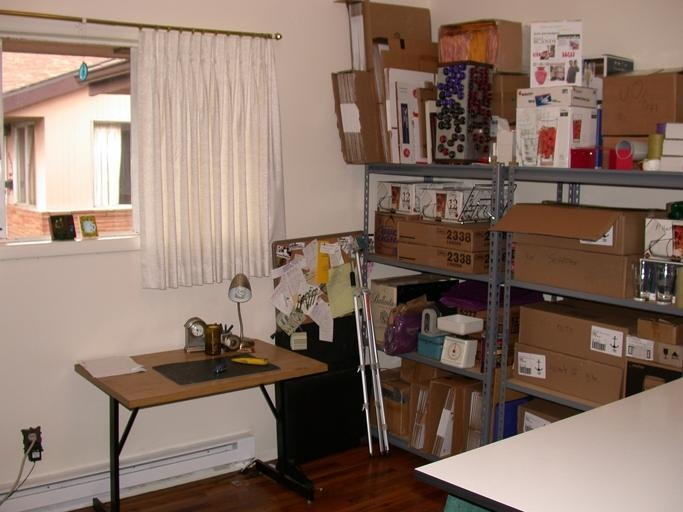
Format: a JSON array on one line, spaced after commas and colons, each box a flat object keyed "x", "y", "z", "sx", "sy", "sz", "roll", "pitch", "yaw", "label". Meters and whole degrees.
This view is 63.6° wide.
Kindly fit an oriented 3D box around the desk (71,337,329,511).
[{"x": -0.771, "y": 0.658, "z": 3.054, "sx": 1.379, "sy": 1.025, "sz": 0.906, "roll": -4, "pitch": 6, "yaw": -40, "label": "desk"}]

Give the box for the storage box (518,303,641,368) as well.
[{"x": 1.270, "y": 0.402, "z": 2.976, "sx": 0.368, "sy": 0.140, "sz": 0.336, "roll": -7, "pitch": 10, "yaw": -44, "label": "storage box"}]

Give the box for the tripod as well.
[{"x": 0.182, "y": 0.659, "z": 3.758, "sx": 0.191, "sy": 1.591, "sz": 0.134, "roll": -5, "pitch": 1, "yaw": -9, "label": "tripod"}]

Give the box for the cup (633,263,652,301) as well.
[{"x": 1.441, "y": 0.112, "z": 2.642, "sx": 0.084, "sy": 0.198, "sz": 0.074, "roll": -6, "pitch": 3, "yaw": -41, "label": "cup"}]

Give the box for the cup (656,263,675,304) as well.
[{"x": 1.512, "y": 0.123, "z": 2.575, "sx": 0.087, "sy": 0.185, "sz": 0.050, "roll": -2, "pitch": 3, "yaw": 42, "label": "cup"}]

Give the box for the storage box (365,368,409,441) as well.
[{"x": 0.346, "y": 0.973, "z": 3.970, "sx": 0.290, "sy": 0.477, "sz": 0.476, "roll": -4, "pitch": 5, "yaw": -27, "label": "storage box"}]

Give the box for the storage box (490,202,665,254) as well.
[{"x": 1.205, "y": -0.143, "z": 2.830, "sx": 0.751, "sy": 0.308, "sz": 0.417, "roll": -2, "pitch": 3, "yaw": 40, "label": "storage box"}]
